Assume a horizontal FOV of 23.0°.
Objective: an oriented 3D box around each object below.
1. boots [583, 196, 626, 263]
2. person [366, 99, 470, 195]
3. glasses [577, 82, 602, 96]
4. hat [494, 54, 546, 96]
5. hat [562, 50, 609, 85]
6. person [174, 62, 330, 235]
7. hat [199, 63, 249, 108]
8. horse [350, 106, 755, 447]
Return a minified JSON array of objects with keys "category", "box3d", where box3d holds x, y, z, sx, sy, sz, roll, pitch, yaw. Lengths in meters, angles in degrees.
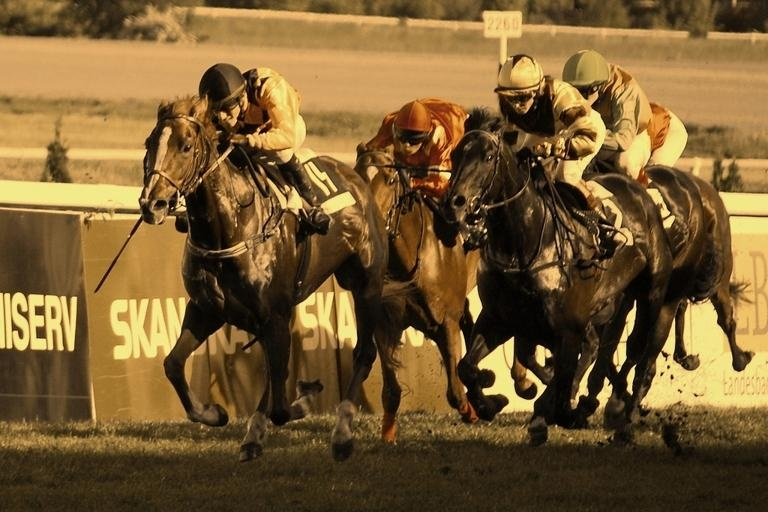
[{"category":"boots","box3d":[2.262,-0.254,19.255,0.483,0.627,0.234,-3,-6,-37]},{"category":"person","box3d":[0.295,-1.229,20.255,1.225,0.922,1.647,3,20,0]},{"category":"glasses","box3d":[2.192,-1.756,19.958,0.147,0.059,0.209,11,21,37]},{"category":"hat","box3d":[1.372,-1.777,19.169,0.487,0.497,0.626,9,23,13]},{"category":"hat","box3d":[2.171,-1.999,20.035,0.482,0.317,0.590,12,21,31]},{"category":"person","box3d":[-1.310,-1.100,18.949,1.379,1.690,1.012,-8,17,-16]},{"category":"hat","box3d":[-1.624,-1.668,18.560,0.406,0.442,0.372,-5,-26,21]},{"category":"horse","box3d":[2.189,0.323,20.074,1.144,3.397,5.616,-1,3,38]}]
